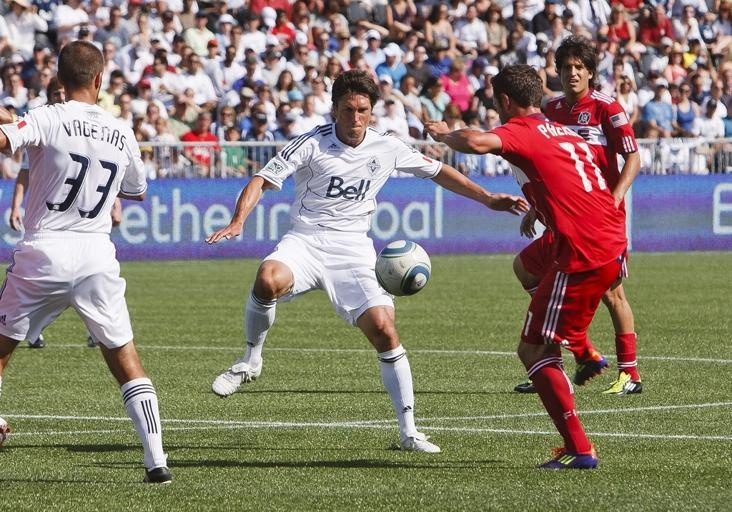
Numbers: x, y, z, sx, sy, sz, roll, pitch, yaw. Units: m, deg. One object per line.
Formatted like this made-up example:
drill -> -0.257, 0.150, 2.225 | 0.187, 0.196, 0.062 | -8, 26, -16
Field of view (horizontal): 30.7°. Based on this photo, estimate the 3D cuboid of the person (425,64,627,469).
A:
person -> 1.393, 0.043, 10.589 | 1.224, 3.043, 1.023 | 6, 12, 28

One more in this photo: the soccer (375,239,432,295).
soccer -> 0.280, 0.139, 11.320 | 0.473, 0.441, 0.458 | -16, 49, -10

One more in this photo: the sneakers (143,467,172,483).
sneakers -> -1.567, 1.647, 10.046 | 0.090, 0.097, 0.239 | -4, 1, -33

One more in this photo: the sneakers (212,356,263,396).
sneakers -> -1.185, 1.120, 12.070 | 0.211, 0.220, 0.540 | 40, 45, 24

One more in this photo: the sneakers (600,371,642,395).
sneakers -> 2.249, 1.185, 12.092 | 0.450, 0.201, 0.148 | 0, -5, -3

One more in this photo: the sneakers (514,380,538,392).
sneakers -> 1.418, 1.191, 12.174 | 0.314, 0.131, 0.111 | -1, -4, 26

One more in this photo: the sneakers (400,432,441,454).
sneakers -> 0.422, 1.497, 10.734 | 0.277, 0.109, 0.148 | 3, 4, 13

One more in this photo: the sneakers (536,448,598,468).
sneakers -> 1.552, 1.566, 10.375 | 0.445, 0.165, 0.155 | -1, -7, 10
